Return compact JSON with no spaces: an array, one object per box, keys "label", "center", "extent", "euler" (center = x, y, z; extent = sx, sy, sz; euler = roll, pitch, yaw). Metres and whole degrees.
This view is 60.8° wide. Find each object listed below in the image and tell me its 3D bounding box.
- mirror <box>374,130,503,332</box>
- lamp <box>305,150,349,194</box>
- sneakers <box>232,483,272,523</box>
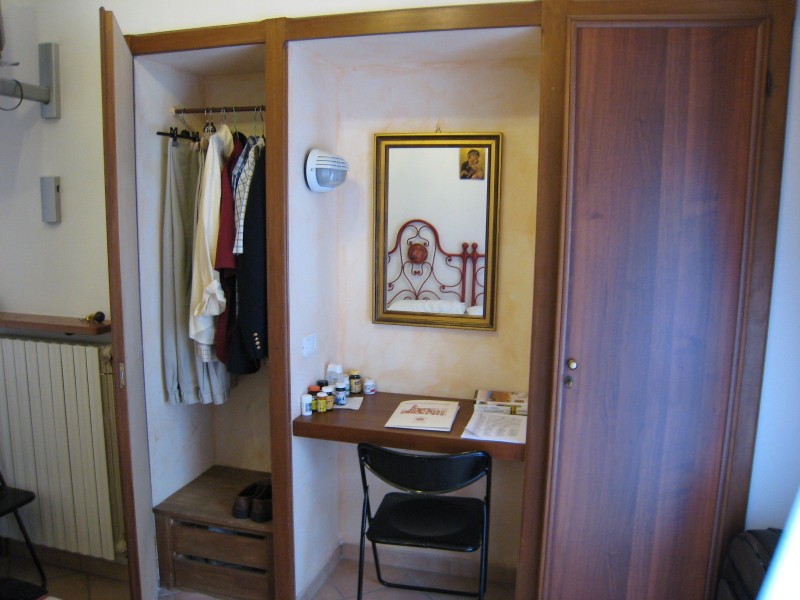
[{"label":"mirror","center":[0.214,-0.386,3.455],"extent":[0.892,1.404,0.056],"euler":[2,5,12]},{"label":"lamp","center":[-0.373,-0.625,3.298],"extent":[0.113,0.201,0.223],"euler":[8,12,44]},{"label":"sneakers","center":[-0.742,1.018,3.473],"extent":[0.136,0.069,0.199],"euler":[2,7,5]}]
